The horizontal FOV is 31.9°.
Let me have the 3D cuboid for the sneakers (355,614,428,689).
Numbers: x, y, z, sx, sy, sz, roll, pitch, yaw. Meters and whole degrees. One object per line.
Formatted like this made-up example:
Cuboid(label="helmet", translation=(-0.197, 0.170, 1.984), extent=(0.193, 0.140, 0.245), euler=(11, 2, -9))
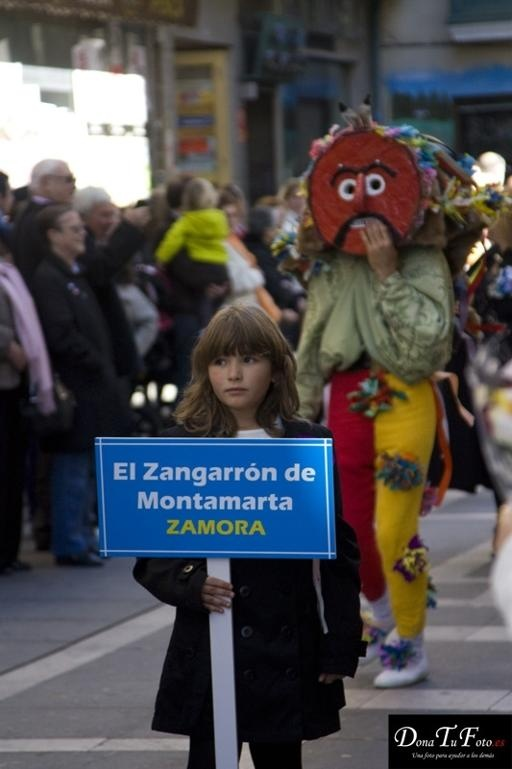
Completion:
Cuboid(label="sneakers", translation=(0.512, 1.006, 3.374), extent=(0.237, 0.206, 0.360), euler=(-3, 2, 5))
